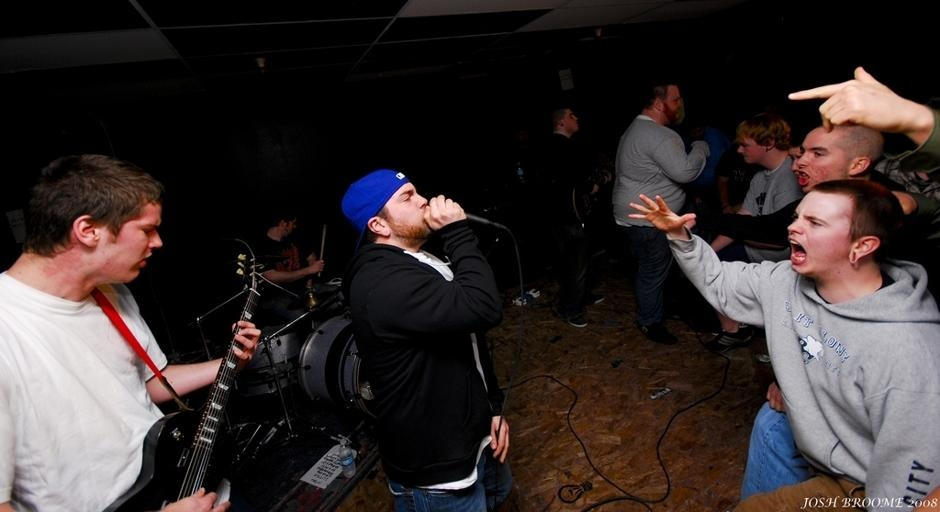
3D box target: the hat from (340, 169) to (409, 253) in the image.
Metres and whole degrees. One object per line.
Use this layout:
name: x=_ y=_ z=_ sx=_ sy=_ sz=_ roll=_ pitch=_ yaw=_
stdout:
hat: x=-0.592 y=-0.318 z=3.667 sx=0.387 sy=0.454 sz=0.330 roll=33 pitch=16 yaw=-14

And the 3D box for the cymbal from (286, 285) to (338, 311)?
cymbal: x=-1.403 y=0.326 z=5.264 sx=0.327 sy=0.172 sz=0.319 roll=-4 pitch=7 yaw=33

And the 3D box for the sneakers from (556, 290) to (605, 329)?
sneakers: x=1.148 y=0.566 z=6.097 sx=0.247 sy=0.261 sz=0.699 roll=3 pitch=-17 yaw=-38

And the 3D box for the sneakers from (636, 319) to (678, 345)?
sneakers: x=1.819 y=0.738 z=5.598 sx=0.181 sy=0.136 sz=0.414 roll=19 pitch=-4 yaw=-43
